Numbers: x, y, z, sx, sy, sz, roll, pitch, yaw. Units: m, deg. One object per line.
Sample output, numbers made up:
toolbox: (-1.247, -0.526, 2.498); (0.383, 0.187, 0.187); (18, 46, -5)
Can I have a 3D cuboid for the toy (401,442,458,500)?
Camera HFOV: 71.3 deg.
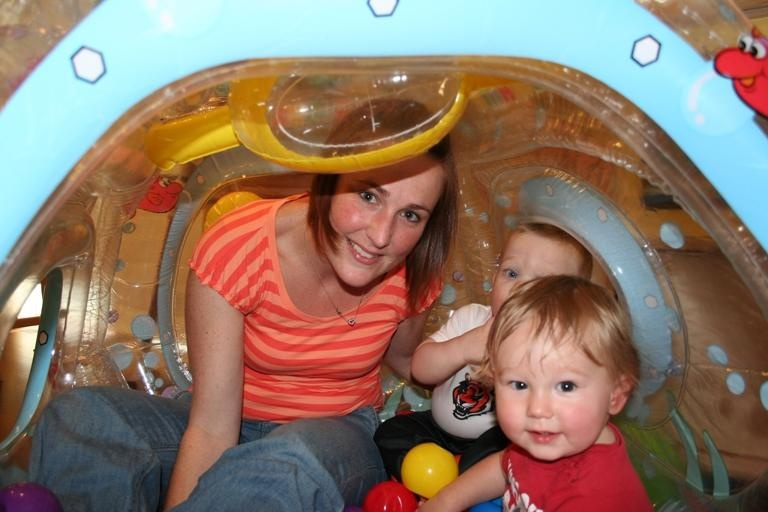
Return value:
toy: (0.143, 0.634, 1.618); (0.150, 0.147, 0.141); (25, 6, -38)
